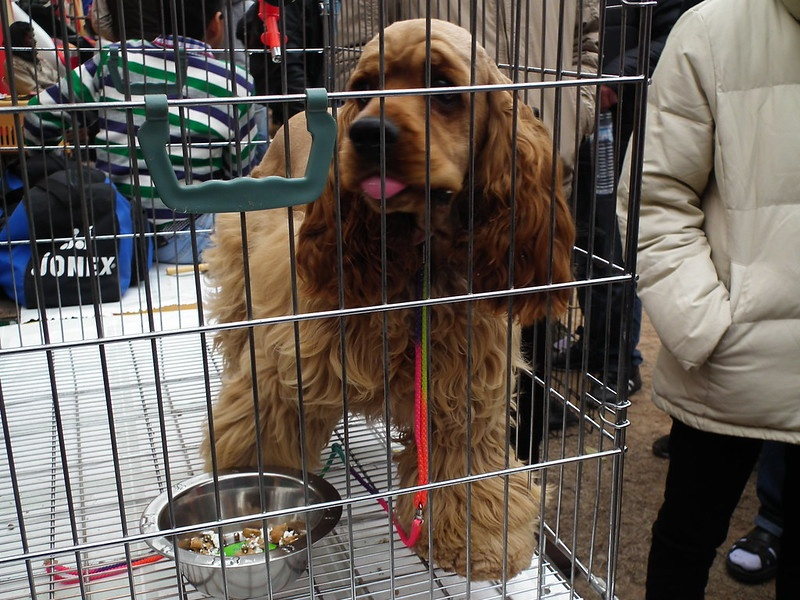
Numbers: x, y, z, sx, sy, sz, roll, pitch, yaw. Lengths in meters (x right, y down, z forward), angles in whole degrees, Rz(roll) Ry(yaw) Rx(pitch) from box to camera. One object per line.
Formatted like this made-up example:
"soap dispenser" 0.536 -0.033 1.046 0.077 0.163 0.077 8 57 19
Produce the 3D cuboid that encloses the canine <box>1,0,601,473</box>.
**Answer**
"canine" -0.296 -0.156 3.056 1.367 1.357 1.062 0 10 -9
